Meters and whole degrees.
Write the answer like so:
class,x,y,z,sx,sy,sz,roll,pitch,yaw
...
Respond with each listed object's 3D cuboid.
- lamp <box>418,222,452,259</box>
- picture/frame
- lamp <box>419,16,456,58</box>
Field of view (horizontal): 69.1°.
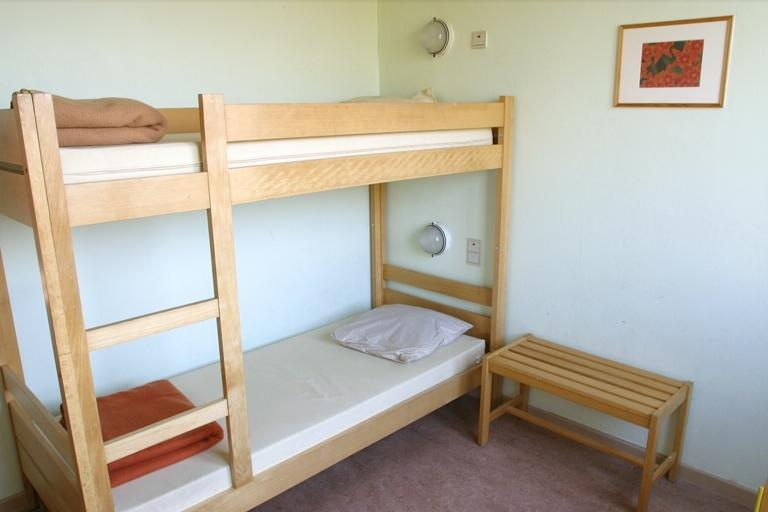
class,x,y,z,sx,sy,sz,roll,pitch,yaw
lamp,0.395,-0.116,4.188,0.268,0.268,0.092,7,12,34
picture/frame,1.632,-1.091,3.188,0.024,0.472,0.659,-21,26,-28
lamp,0.374,-1.550,3.961,0.230,0.273,0.087,13,23,37
